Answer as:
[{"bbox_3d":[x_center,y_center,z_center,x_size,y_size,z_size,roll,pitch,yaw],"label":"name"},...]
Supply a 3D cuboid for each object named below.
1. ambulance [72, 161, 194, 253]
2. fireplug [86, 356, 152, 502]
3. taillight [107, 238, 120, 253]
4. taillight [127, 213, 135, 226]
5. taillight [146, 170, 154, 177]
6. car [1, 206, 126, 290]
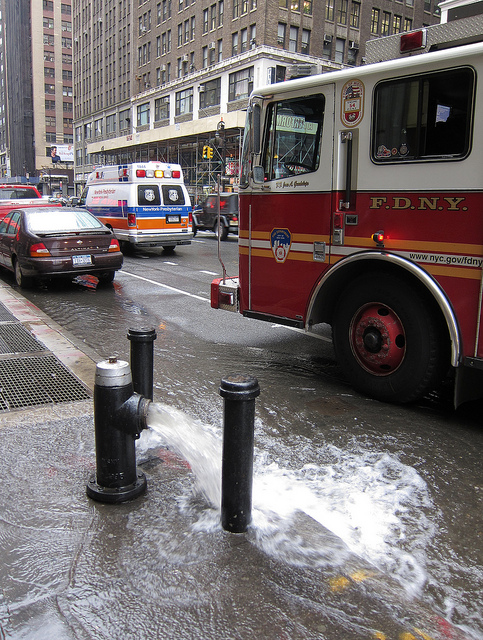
[{"bbox_3d":[-4.239,-4.177,19.010,2.672,3.136,5.473,-9,16,-38],"label":"ambulance"},{"bbox_3d":[-0.654,0.572,2.721,0.346,0.781,0.304,2,16,0],"label":"fireplug"},{"bbox_3d":[-2.701,-1.586,10.822,0.285,0.291,0.213,18,17,40],"label":"taillight"},{"bbox_3d":[-3.541,-3.261,16.433,0.270,0.528,0.053,14,21,33],"label":"taillight"},{"bbox_3d":[-3.010,-4.806,16.654,0.224,0.245,0.054,-2,8,-17],"label":"taillight"},{"bbox_3d":[-4.151,-1.807,10.904,1.461,1.173,2.780,-12,28,-34],"label":"car"}]
